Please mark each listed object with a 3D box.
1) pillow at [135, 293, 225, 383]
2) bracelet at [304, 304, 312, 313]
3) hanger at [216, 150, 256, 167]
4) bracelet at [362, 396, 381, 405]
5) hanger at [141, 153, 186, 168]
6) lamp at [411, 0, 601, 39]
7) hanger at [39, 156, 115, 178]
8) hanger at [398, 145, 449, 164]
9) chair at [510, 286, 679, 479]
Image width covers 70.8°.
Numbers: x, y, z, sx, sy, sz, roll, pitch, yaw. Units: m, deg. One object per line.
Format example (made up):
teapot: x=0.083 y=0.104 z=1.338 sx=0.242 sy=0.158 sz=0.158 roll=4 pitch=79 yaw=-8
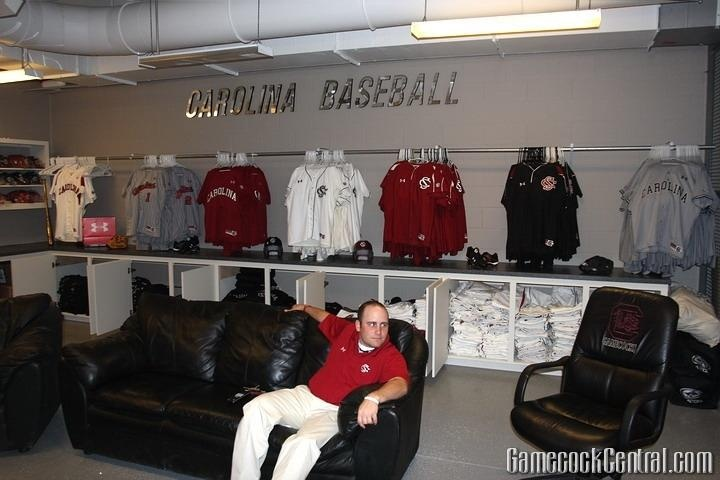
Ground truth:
pillow: x=-1.741 y=0.955 z=4.876 sx=0.770 sy=0.746 sz=0.238 roll=-3 pitch=-16 yaw=15
bracelet: x=-0.471 y=0.635 z=4.713 sx=0.062 sy=0.060 sz=0.021 roll=-5 pitch=-19 yaw=19
hanger: x=-1.789 y=-1.123 z=7.159 sx=0.343 sy=0.138 sz=0.348 roll=3 pitch=4 yaw=11
bracelet: x=0.090 y=1.202 z=3.824 sx=0.077 sy=0.030 sz=0.068 roll=29 pitch=-10 yaw=-9
hanger: x=-2.953 y=-1.161 z=7.513 sx=0.604 sy=0.197 sz=0.193 roll=2 pitch=5 yaw=22
lamp: x=1.275 y=-1.923 z=4.525 sx=1.596 sy=0.193 sz=0.160 roll=1 pitch=5 yaw=8
hanger: x=-4.374 y=-1.147 z=7.827 sx=0.670 sy=0.207 sz=0.518 roll=1 pitch=3 yaw=13
hanger: x=0.835 y=-1.055 z=6.371 sx=0.741 sy=0.276 sz=0.244 roll=5 pitch=7 yaw=23
chair: x=1.905 y=1.022 z=4.068 sx=1.099 sy=1.174 sz=0.865 roll=-3 pitch=6 yaw=-37
